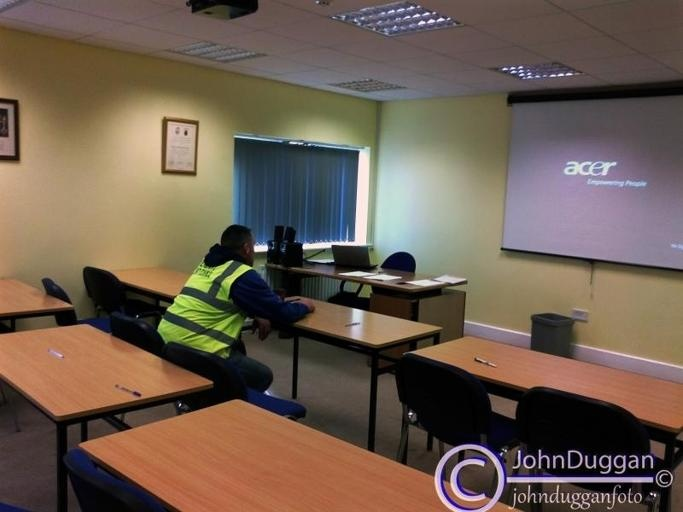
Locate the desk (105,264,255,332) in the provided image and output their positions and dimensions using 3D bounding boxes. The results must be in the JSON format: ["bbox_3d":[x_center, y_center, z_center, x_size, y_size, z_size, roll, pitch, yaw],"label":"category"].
[{"bbox_3d":[-1.251,0.313,3.820,0.607,0.295,0.419,15,18,35],"label":"desk"}]

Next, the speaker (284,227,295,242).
[{"bbox_3d":[-0.637,-0.263,6.131,0.103,0.188,0.187,5,4,-13],"label":"speaker"}]

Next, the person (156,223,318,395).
[{"bbox_3d":[-0.751,0.550,3.603,0.694,1.448,1.083,6,5,38],"label":"person"}]

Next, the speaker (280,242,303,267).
[{"bbox_3d":[-0.582,-0.039,6.007,0.283,0.359,0.244,-8,14,-34],"label":"speaker"}]

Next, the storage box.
[{"bbox_3d":[0.795,0.500,5.510,0.664,0.838,0.900,-1,4,-41],"label":"storage box"}]

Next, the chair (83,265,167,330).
[{"bbox_3d":[-1.964,0.364,4.528,0.550,0.829,0.488,-7,13,-43],"label":"chair"}]

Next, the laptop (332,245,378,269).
[{"bbox_3d":[0.201,-0.003,6.167,0.431,0.264,0.336,3,4,31],"label":"laptop"}]

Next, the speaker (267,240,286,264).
[{"bbox_3d":[-0.785,-0.043,6.063,0.251,0.323,0.224,3,4,-6],"label":"speaker"}]
